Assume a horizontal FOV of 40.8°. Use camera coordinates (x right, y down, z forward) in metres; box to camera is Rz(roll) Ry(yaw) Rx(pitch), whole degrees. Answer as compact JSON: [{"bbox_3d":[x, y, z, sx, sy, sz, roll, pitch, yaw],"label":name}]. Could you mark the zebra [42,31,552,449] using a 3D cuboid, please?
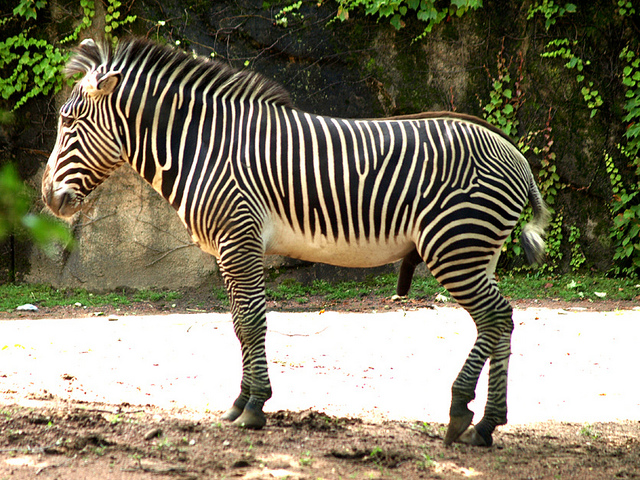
[{"bbox_3d":[-0.311,0.167,7.475,4.465,3.459,1.310,4,-12,1],"label":"zebra"}]
